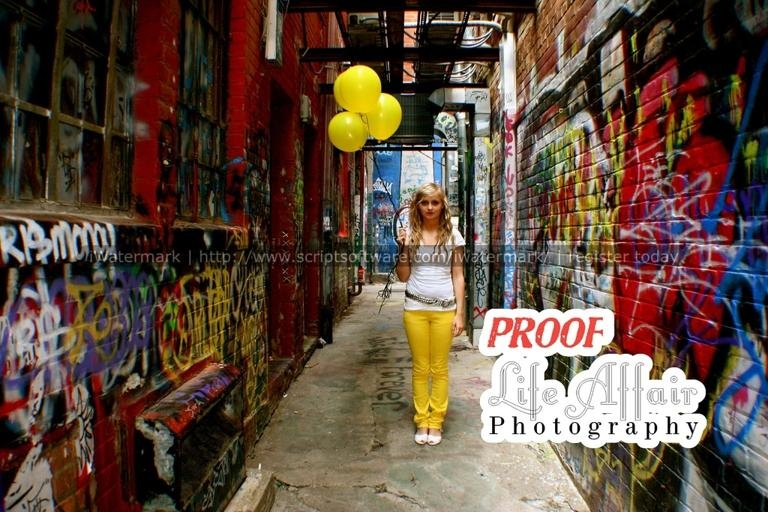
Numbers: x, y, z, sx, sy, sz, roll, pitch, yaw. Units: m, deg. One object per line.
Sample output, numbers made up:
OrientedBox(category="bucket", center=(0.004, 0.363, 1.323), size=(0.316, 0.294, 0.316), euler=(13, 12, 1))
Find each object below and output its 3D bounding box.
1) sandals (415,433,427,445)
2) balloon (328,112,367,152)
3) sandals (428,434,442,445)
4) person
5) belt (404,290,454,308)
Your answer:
OrientedBox(category="sandals", center=(0.308, 1.489, 4.281), size=(0.114, 0.059, 0.098), euler=(1, 9, 9))
OrientedBox(category="balloon", center=(-0.419, -1.362, 5.906), size=(0.392, 0.575, 0.414), euler=(-7, 4, 14))
OrientedBox(category="sandals", center=(0.423, 1.492, 4.260), size=(0.126, 0.060, 0.101), euler=(-1, 9, -2))
OrientedBox(category="person", center=(0.388, 0.462, 4.315), size=(0.558, 2.071, 0.440), euler=(0, 8, 1))
OrientedBox(category="belt", center=(0.384, 0.350, 4.289), size=(0.409, 0.128, 0.133), euler=(1, 9, 7))
